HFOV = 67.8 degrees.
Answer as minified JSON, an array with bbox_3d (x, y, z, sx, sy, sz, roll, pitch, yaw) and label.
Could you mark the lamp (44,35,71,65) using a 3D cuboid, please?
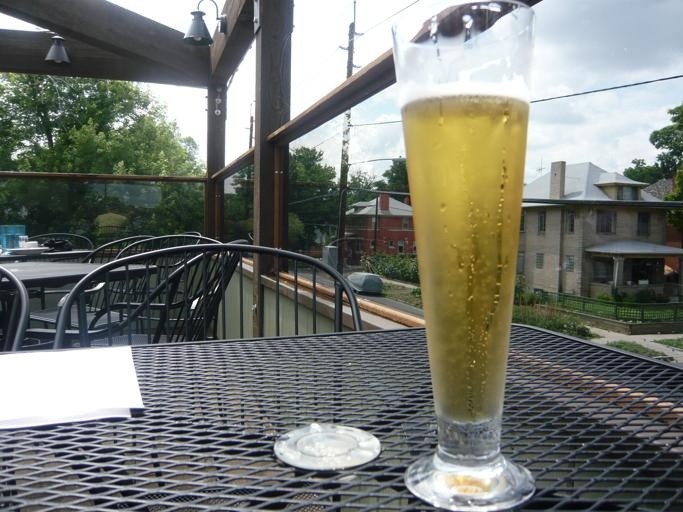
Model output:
[{"bbox_3d":[-3.172,-2.323,5.640,0.231,0.343,0.324,-5,10,-29],"label":"lamp"}]
